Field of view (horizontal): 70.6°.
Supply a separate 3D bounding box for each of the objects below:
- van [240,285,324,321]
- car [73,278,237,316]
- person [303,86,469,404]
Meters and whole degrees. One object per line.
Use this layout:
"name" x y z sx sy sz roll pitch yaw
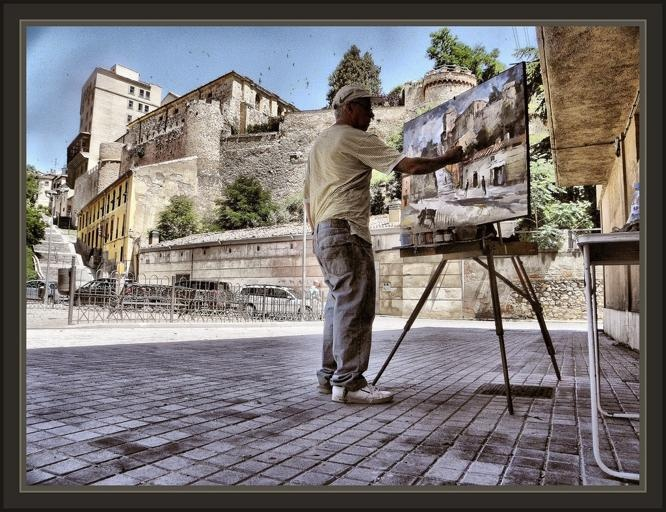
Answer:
"van" -2.291 1.862 18.630 3.182 1.379 1.422 3 -5 -40
"car" -5.401 1.246 14.330 1.822 0.908 3.325 -4 -11 33
"person" 0.186 -0.153 3.693 1.213 2.595 0.420 -3 -2 31
